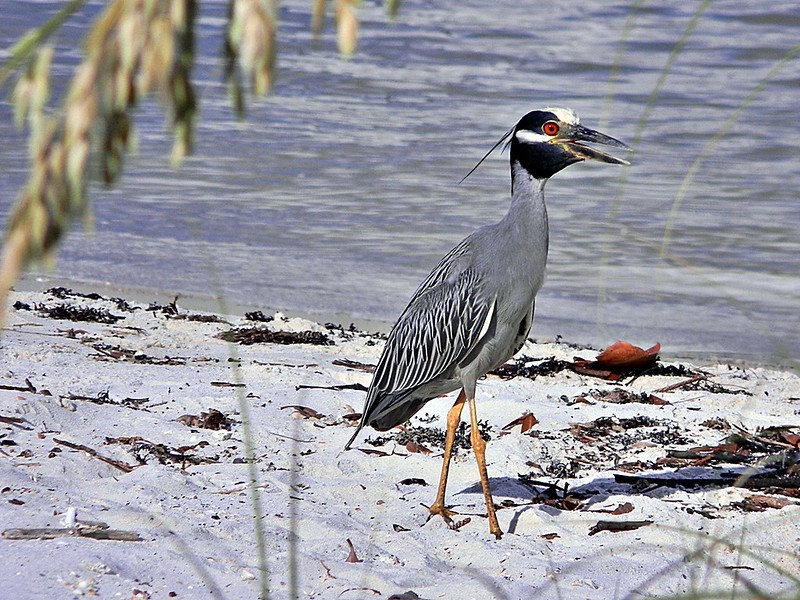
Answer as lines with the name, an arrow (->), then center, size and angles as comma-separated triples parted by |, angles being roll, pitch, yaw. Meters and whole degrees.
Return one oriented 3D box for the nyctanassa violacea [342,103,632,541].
nyctanassa violacea -> 0.494, 0.067, 7.182 | 0.851, 2.857, 1.203 | 5, 21, -37
